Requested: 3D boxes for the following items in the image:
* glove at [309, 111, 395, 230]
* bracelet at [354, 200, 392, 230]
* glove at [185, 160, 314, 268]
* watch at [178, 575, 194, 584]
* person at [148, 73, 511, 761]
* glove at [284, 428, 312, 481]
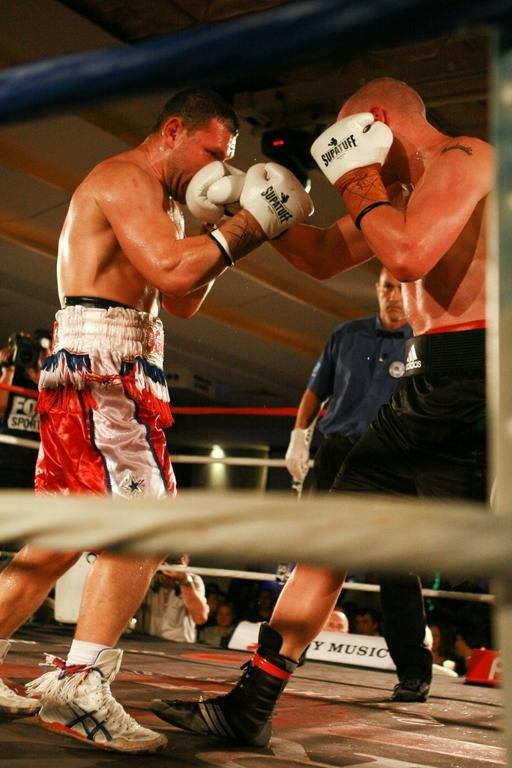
[{"bbox_3d":[0.214,-0.484,1.497,0.175,0.324,0.211,0,-3,3],"label":"glove"},{"bbox_3d":[0.236,-0.361,1.408,0.071,0.018,0.066,-29,-12,-40],"label":"bracelet"},{"bbox_3d":[-0.025,-0.461,1.855,0.364,0.260,0.163,20,-38,11],"label":"glove"},{"bbox_3d":[-0.365,1.017,3.481,0.065,0.056,0.039,1,-13,40],"label":"watch"},{"bbox_3d":[0.337,0.007,1.585,0.694,1.587,0.624,-2,-4,40],"label":"person"},{"bbox_3d":[0.182,0.312,2.942,0.070,0.204,0.167,-4,12,-31],"label":"glove"}]
